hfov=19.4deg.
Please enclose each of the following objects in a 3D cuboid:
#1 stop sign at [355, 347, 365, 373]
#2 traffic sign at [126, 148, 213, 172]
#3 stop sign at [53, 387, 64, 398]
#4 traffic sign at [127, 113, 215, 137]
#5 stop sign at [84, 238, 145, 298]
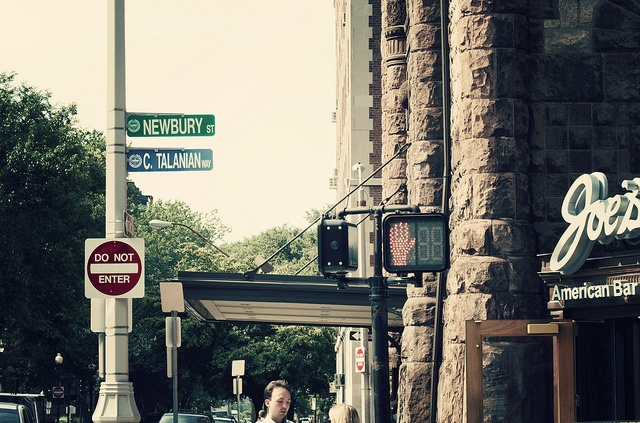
[{"bbox_3d":[1.327,5.056,63.996,0.049,1.081,0.886,8,-17,-16],"label":"stop sign"},{"bbox_3d":[-4.423,-1.598,53.810,2.436,0.677,0.424,-1,-13,-7],"label":"traffic sign"},{"bbox_3d":[-11.471,7.814,81.090,0.489,0.550,0.122,2,9,-3],"label":"stop sign"},{"bbox_3d":[-4.390,-2.591,53.846,2.501,0.685,0.350,-2,-13,-4],"label":"traffic sign"},{"bbox_3d":[-5.901,1.592,53.044,1.495,1.676,0.204,-1,-4,2],"label":"stop sign"}]
